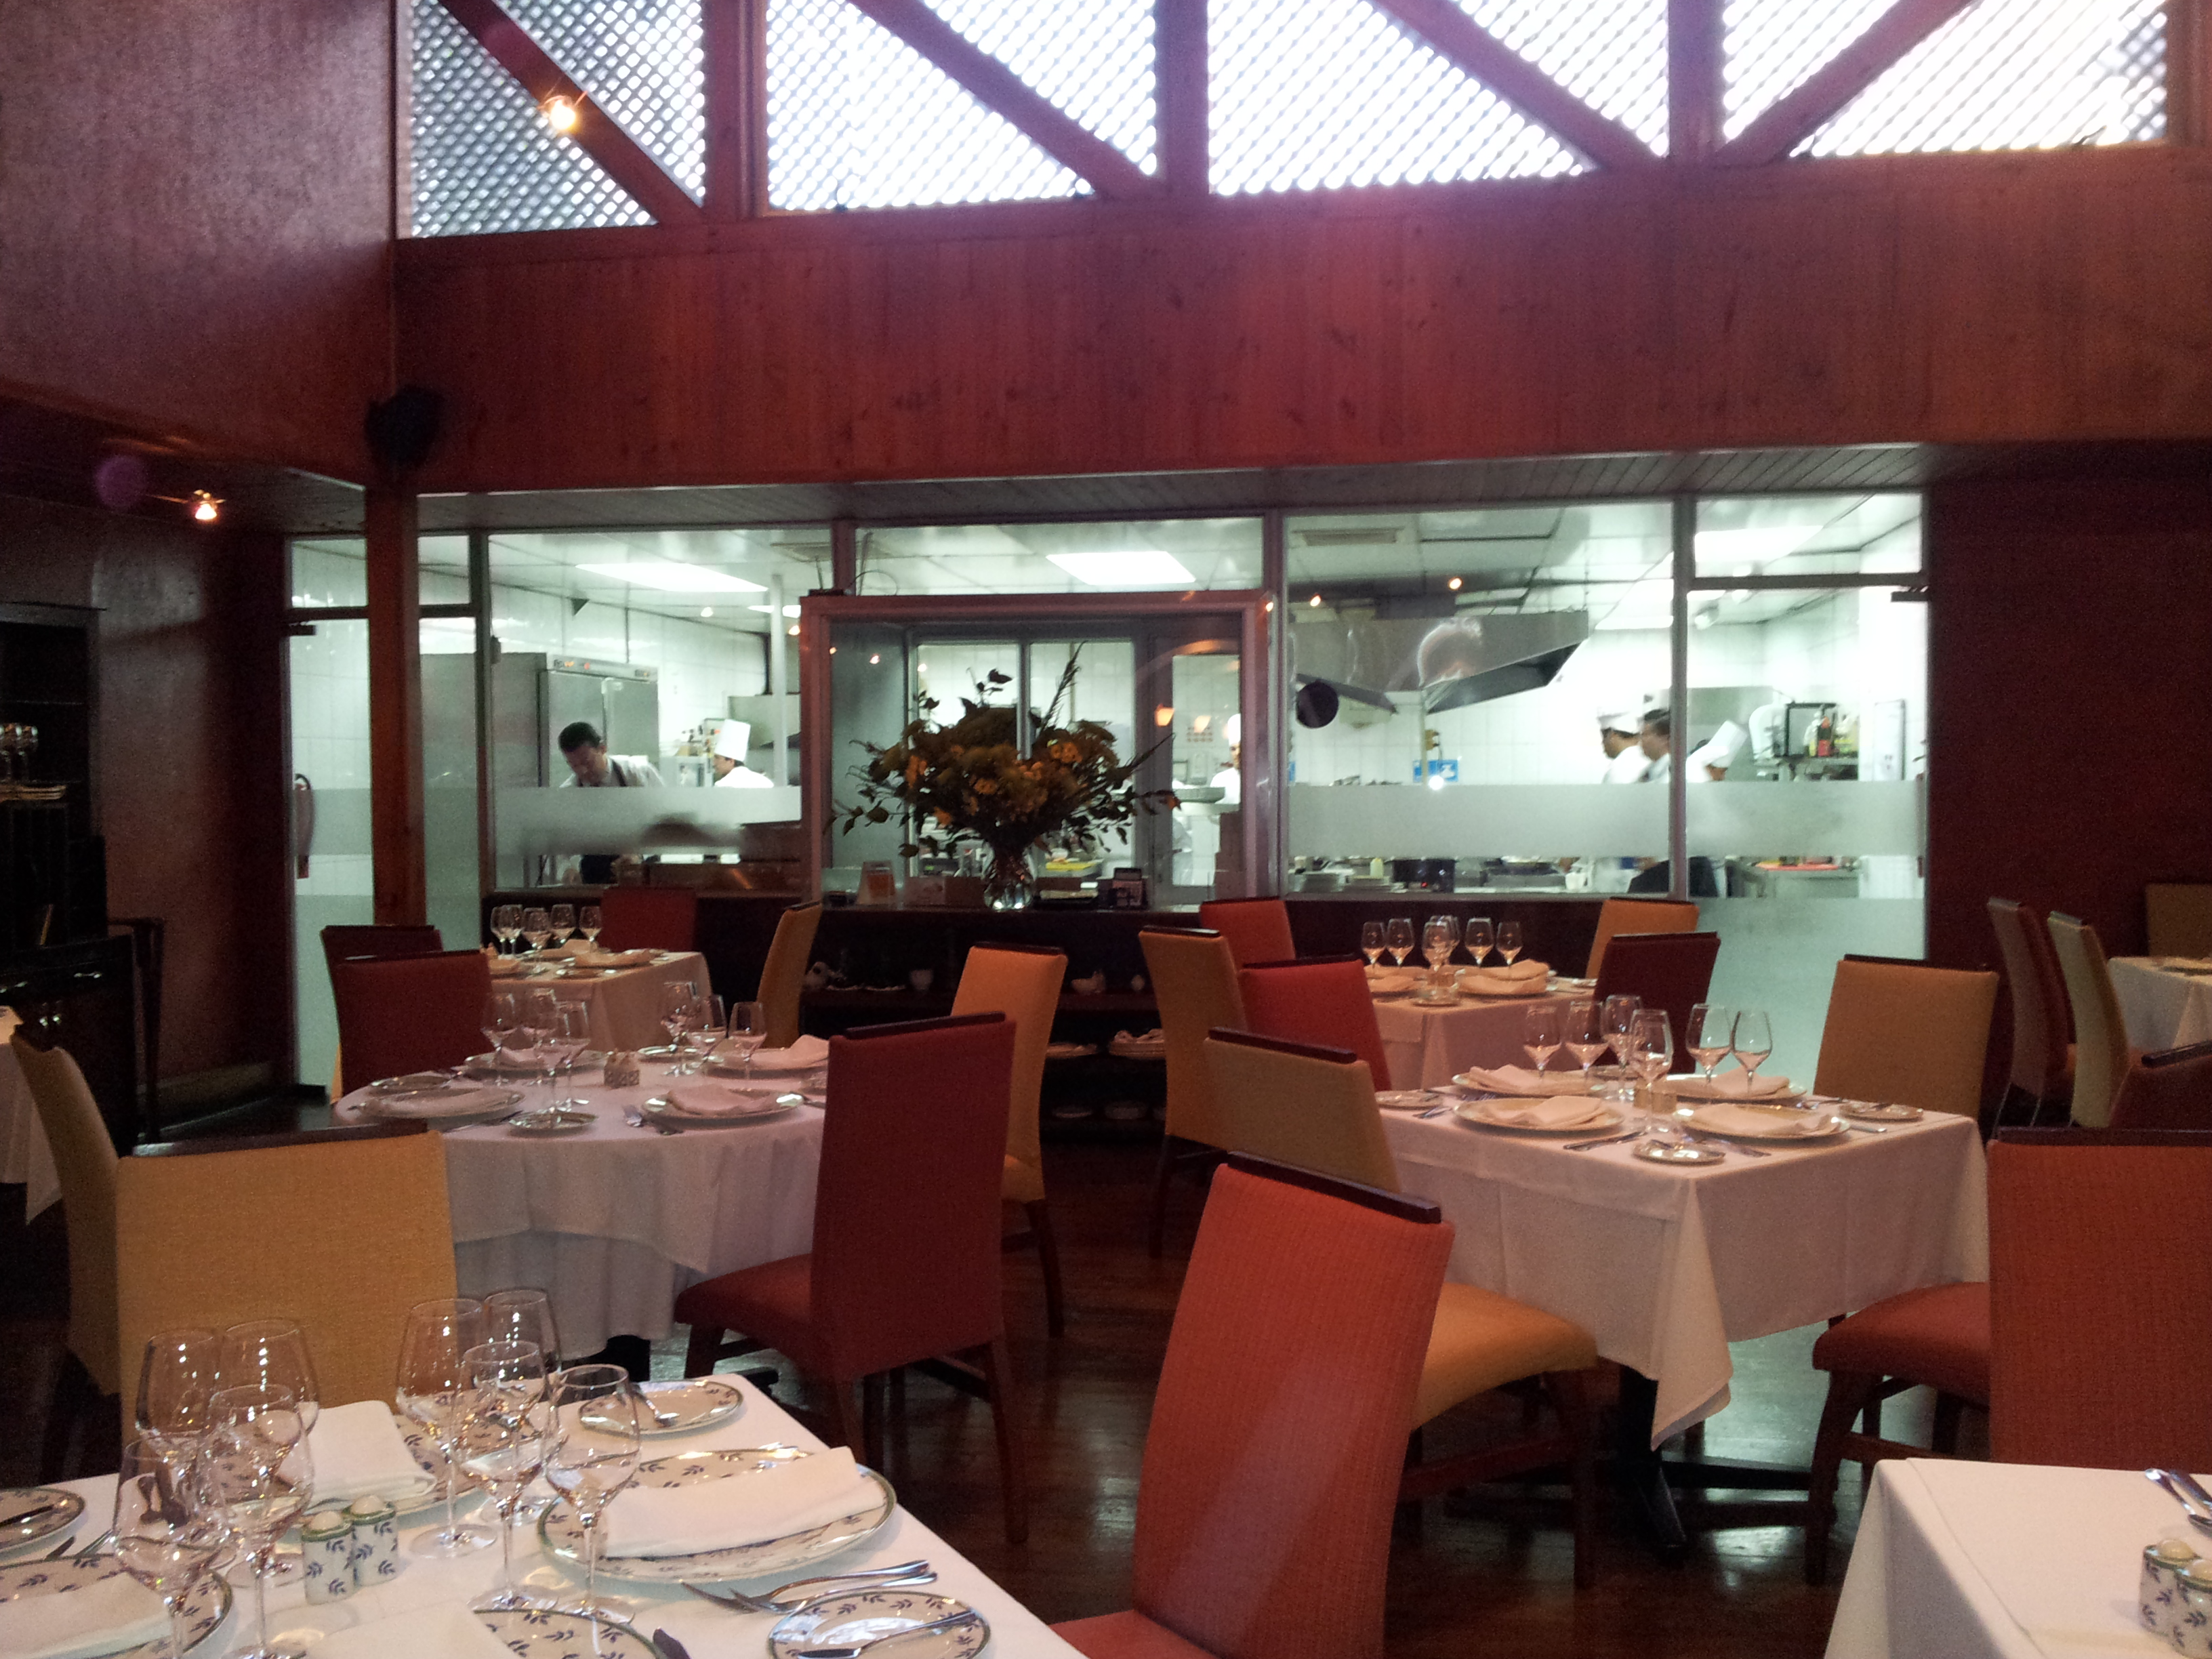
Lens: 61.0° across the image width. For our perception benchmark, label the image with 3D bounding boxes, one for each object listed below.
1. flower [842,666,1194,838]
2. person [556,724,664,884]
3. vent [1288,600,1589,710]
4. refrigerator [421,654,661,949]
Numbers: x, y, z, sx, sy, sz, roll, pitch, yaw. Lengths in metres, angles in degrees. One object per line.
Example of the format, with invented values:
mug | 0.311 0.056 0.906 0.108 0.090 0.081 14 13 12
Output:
flower | -0.384 -0.247 8.180 1.155 0.679 1.242 -5 3 0
person | -2.472 -0.130 9.208 0.483 0.774 0.168 1 2 23
vent | 1.509 -0.796 8.622 0.785 0.337 0.595 1 -1 6
refrigerator | -2.716 -0.118 9.017 1.347 1.362 0.445 0 3 0
